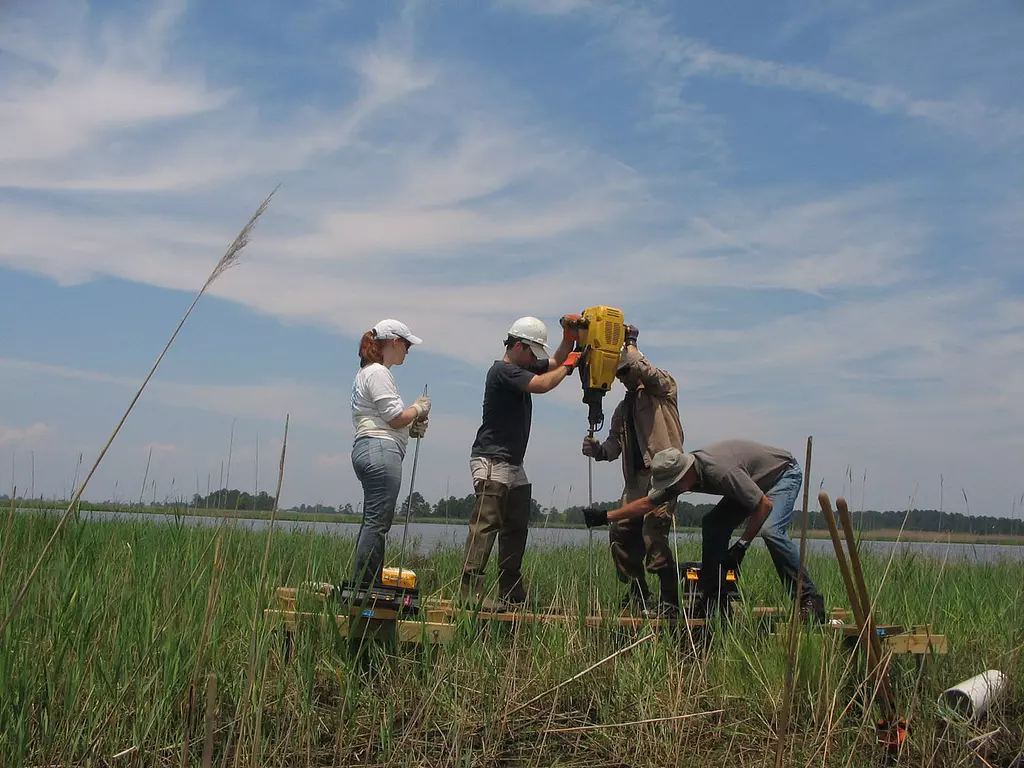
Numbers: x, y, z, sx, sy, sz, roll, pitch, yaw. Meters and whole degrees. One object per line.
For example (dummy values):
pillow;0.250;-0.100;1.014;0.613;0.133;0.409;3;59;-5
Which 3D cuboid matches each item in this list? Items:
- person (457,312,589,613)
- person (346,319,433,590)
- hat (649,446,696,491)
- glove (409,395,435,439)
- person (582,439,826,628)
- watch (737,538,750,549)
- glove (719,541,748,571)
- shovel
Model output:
person;0.052;0.568;7.261;0.837;2.414;0.674;2;-8;1
person;-0.944;0.424;6.666;0.585;2.119;1.543;3;-8;-9
hat;1.266;0.665;6.876;0.320;0.333;0.141;0;-8;13
glove;-0.673;0.223;6.300;0.106;0.328;0.233;11;-12;-2
person;1.543;1.221;7.130;1.829;1.546;0.879;-4;4;0
watch;1.824;1.243;6.908;0.062;0.051;0.084;9;6;44
glove;1.766;1.380;7.002;0.243;0.256;0.171;27;-30;-35
shovel;1.997;1.432;4.890;0.371;1.458;1.573;-2;-9;24
